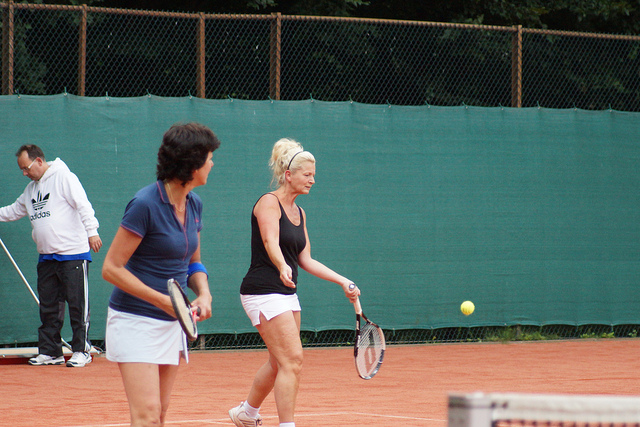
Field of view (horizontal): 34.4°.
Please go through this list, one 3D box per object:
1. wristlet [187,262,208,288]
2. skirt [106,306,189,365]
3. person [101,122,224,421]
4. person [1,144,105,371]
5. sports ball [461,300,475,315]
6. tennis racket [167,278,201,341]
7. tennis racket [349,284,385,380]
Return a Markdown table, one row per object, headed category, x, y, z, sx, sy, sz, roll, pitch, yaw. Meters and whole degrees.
| category | x | y | z | sx | sy | sz | roll | pitch | yaw |
| --- | --- | --- | --- | --- | --- | --- | --- | --- | --- |
| wristlet | -1.147 | 0.533 | 9.657 | 0.127 | 0.169 | 0.151 | 5 | 36 | -4 |
| skirt | -1.537 | 1.117 | 9.304 | 0.766 | 0.588 | 0.448 | 5 | -9 | -38 |
| person | -1.436 | 0.527 | 9.285 | 1.001 | 2.643 | 0.554 | -1 | 7 | -14 |
| person | -3.348 | 0.536 | 13.334 | 1.256 | 2.818 | 0.809 | 2 | 7 | 8 |
| sports ball | 2.095 | 1.342 | 14.693 | 0.171 | 0.196 | 0.135 | 0 | 7 | -3 |
| tennis racket | -1.230 | 0.812 | 9.289 | 0.202 | 0.620 | 0.228 | -3 | 10 | -26 |
| tennis racket | 0.491 | 1.294 | 10.789 | 0.288 | 0.871 | 0.502 | 4 | 8 | 22 |
